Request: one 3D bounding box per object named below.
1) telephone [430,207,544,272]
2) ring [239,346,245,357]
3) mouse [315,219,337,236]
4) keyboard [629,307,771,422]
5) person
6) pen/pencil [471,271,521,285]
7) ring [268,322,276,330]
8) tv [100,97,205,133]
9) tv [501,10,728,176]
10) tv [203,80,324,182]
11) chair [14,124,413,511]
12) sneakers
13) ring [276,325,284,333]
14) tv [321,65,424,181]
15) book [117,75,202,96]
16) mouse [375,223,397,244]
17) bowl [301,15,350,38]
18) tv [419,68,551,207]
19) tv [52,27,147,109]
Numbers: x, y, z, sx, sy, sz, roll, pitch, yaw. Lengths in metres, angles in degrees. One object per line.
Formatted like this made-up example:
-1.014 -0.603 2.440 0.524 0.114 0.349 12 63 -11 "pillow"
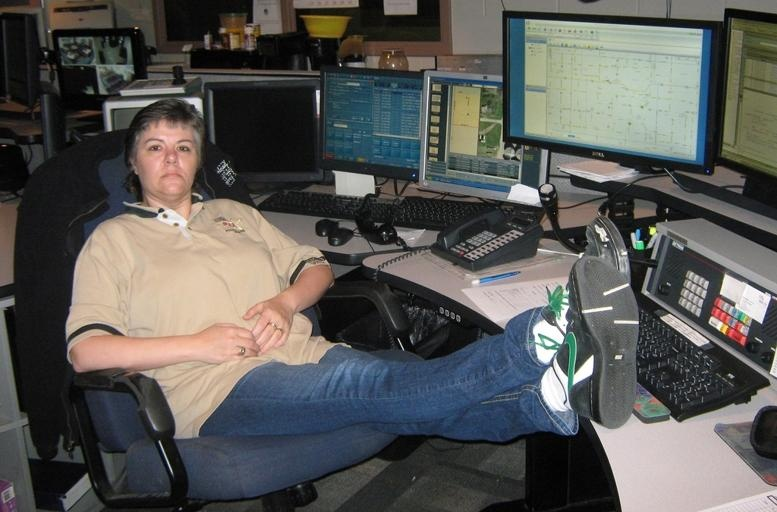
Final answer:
0.356 -0.060 2.104 0.307 0.122 0.222 -19 31 -25 "telephone"
-0.436 0.285 1.777 0.008 0.024 0.025 -5 5 -29 "ring"
-0.254 -0.116 2.356 0.058 0.029 0.081 15 24 29 "mouse"
0.758 0.274 1.580 0.232 0.058 0.346 -25 32 1 "keyboard"
-0.104 0.046 1.959 1.682 0.914 0.887 0 7 20 "person"
0.362 0.074 2.005 0.142 0.018 0.024 -9 10 -24 "pen/pencil"
-0.362 0.217 1.850 0.020 0.018 0.019 9 -9 1 "ring"
-0.841 -0.496 2.101 0.225 0.140 0.116 -3 16 -12 "tv"
0.769 -0.605 2.154 0.079 0.501 0.859 -29 34 -30 "tv"
-0.549 -0.565 2.611 0.581 0.464 0.056 0 14 3 "tv"
-0.641 0.309 1.852 0.923 1.333 0.664 -2 17 -1 "chair"
0.496 0.130 1.421 0.162 0.495 0.225 0 -9 -43 "sneakers"
-0.339 0.229 1.862 0.019 0.006 0.019 32 -18 12 "ring"
-0.062 -0.582 2.572 0.070 0.457 0.661 -14 23 -43 "tv"
-0.947 -0.710 2.508 0.305 0.070 0.320 -6 17 -14 "book"
-0.005 -0.085 2.251 0.062 0.051 0.083 -2 20 -6 "mouse"
-0.418 -1.535 3.955 0.228 0.085 0.229 1 23 0 "bowl"
0.387 -0.477 2.341 0.593 0.460 0.044 7 20 26 "tv"
-1.712 -1.125 3.549 0.647 0.452 0.145 4 17 18 "tv"
